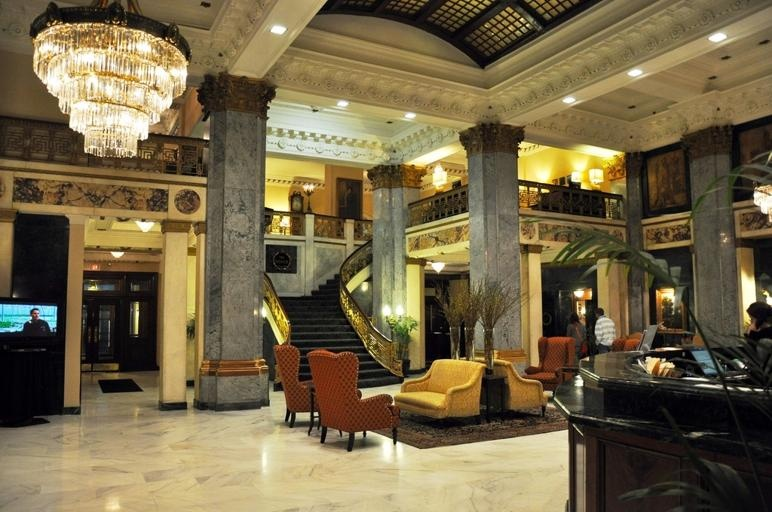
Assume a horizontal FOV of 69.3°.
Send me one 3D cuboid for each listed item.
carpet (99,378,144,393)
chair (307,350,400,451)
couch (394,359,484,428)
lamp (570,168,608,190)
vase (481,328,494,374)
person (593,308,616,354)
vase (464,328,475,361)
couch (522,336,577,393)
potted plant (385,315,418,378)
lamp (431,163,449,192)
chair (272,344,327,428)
[{"bbox_3d":[-6.848,3.377,14.317,0.883,0.140,3.060,2,-3,-30],"label":"carpet"},{"bbox_3d":[-0.571,2.229,9.208,1.639,1.836,1.390,2,-5,-36],"label":"chair"},{"bbox_3d":[0.893,2.348,9.740,1.086,0.886,1.340,3,-6,-31],"label":"couch"},{"bbox_3d":[5.997,-2.341,16.501,0.917,0.273,0.854,-2,2,-14],"label":"lamp"},{"bbox_3d":[1.838,1.705,9.958,0.136,0.810,0.177,0,-3,8],"label":"vase"},{"bbox_3d":[5.128,1.741,13.040,0.402,1.033,2.119,-1,-3,21],"label":"person"},{"bbox_3d":[1.541,1.617,10.264,0.137,0.605,0.209,0,-3,2],"label":"vase"},{"bbox_3d":[3.582,2.439,12.141,1.053,1.157,1.024,-6,-2,35],"label":"couch"},{"bbox_3d":[0.495,2.655,16.401,1.116,1.804,0.922,5,-22,-10],"label":"potted plant"},{"bbox_3d":[1.645,-2.501,16.845,0.336,0.700,1.161,0,-3,10],"label":"lamp"},{"bbox_3d":[-1.688,2.356,10.157,1.257,1.265,1.297,-10,-13,36],"label":"chair"}]
